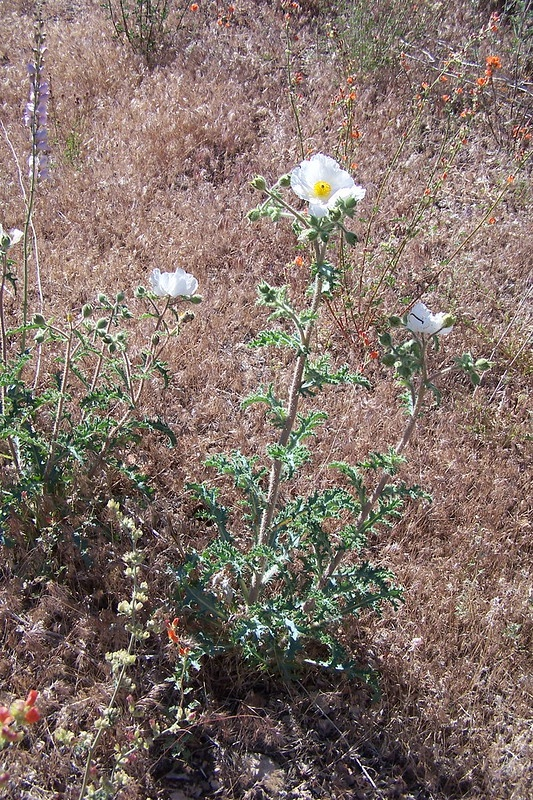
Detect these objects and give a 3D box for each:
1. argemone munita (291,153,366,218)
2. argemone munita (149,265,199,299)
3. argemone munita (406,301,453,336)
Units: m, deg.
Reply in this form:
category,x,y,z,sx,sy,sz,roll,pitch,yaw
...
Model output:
category,x,y,z,sx,sy,sz,roll,pitch,yaw
argemone munita,0.232,-0.760,3.052,0.242,0.158,0.292,-11,52,-16
argemone munita,-0.385,-0.476,3.556,0.166,0.106,0.178,7,9,29
argemone munita,0.597,-0.290,3.153,0.129,0.062,0.155,-4,40,-19
